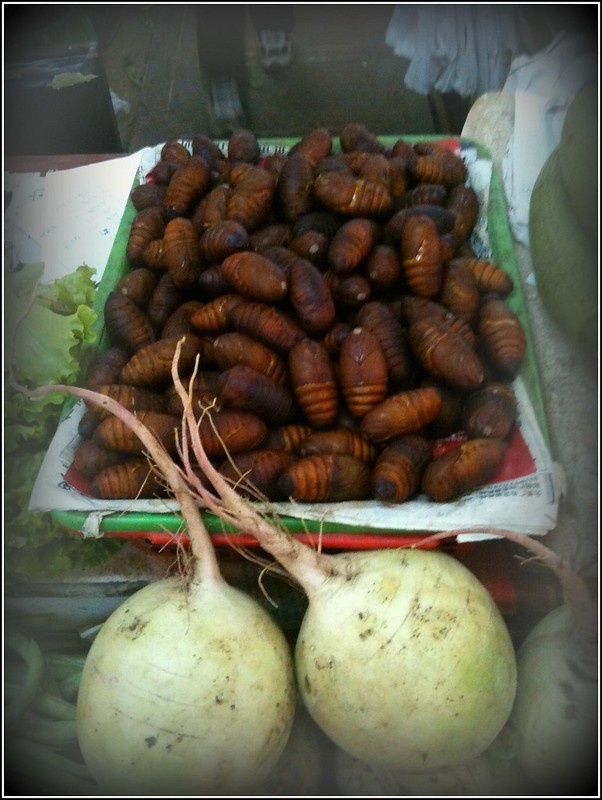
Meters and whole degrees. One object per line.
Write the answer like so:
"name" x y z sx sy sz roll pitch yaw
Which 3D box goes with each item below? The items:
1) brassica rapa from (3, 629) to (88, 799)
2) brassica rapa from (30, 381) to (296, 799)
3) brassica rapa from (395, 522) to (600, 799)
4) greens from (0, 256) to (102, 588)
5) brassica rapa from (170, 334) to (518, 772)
"brassica rapa" -0.592 0.730 1.613 0.115 0.245 0.315 -14 52 -20
"brassica rapa" -0.225 0.510 1.483 0.408 0.424 0.539 6 38 17
"brassica rapa" 0.485 0.549 1.630 0.325 0.270 0.542 -19 84 -4
"greens" -0.689 0.060 1.860 0.390 0.176 0.760 -2 80 -2
"brassica rapa" 0.005 0.420 1.710 1.134 0.341 0.450 28 42 30
